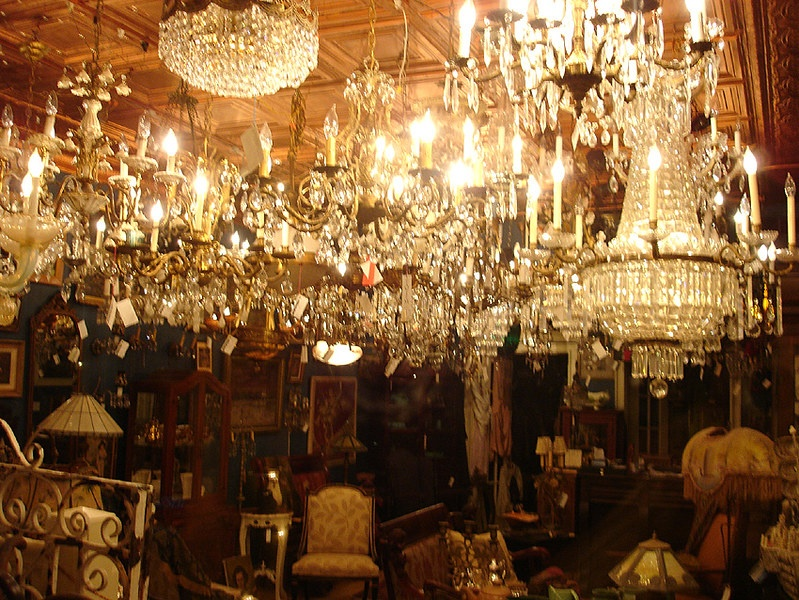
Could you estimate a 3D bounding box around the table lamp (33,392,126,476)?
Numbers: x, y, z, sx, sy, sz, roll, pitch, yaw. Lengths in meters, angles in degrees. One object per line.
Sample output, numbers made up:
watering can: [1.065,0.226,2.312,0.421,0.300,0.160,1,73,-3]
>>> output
table lamp: [-2.959,1.289,7.746,0.648,0.852,1.241,5,-5,-21]

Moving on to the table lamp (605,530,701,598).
table lamp: [1.929,2.003,6.295,0.427,0.351,0.453,-4,-7,19]
